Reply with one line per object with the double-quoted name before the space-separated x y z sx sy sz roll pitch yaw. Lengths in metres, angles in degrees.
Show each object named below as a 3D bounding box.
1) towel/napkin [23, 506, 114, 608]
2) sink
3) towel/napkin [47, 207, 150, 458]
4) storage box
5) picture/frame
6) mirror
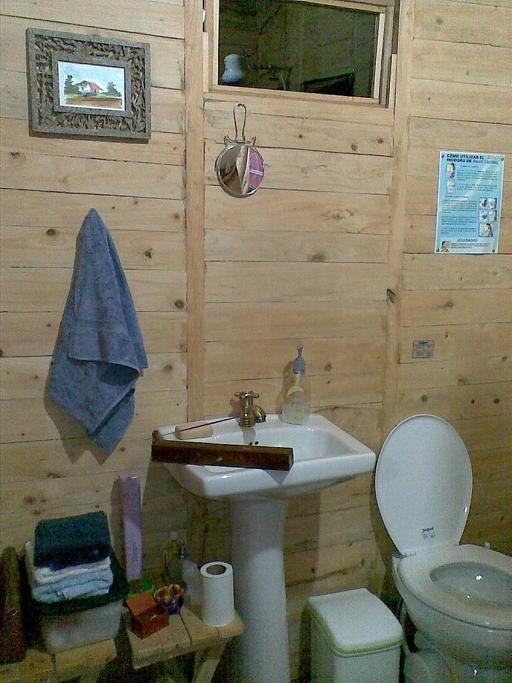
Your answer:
"towel/napkin" -0.422 0.483 1.342 0.177 0.140 0.165 -6 15 -19
"sink" 0.028 0.280 1.489 0.492 0.120 0.353 -6 15 -22
"towel/napkin" -0.400 -0.016 1.426 0.243 0.587 0.128 1 15 7
"storage box" -0.387 0.625 1.297 0.151 0.062 0.097 -3 -1 -25
"picture/frame" -0.405 -0.609 1.388 0.327 0.242 0.014 -3 10 -20
"mirror" -0.046 -0.496 1.548 0.123 0.241 0.044 -10 17 -32
